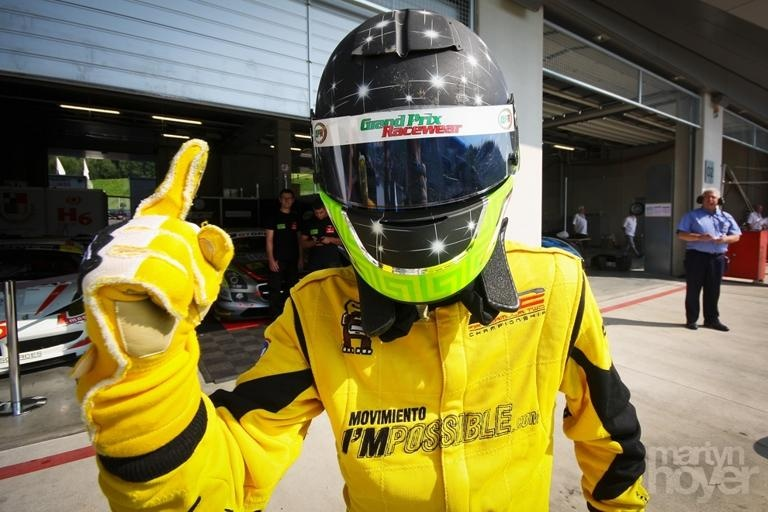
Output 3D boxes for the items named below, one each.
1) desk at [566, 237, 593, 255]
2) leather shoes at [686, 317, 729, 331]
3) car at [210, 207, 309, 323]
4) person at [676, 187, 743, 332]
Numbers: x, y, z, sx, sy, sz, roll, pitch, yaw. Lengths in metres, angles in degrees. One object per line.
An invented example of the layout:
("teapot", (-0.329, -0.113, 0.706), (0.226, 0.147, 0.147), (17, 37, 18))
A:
("desk", (4.207, -0.225, 10.880), (0.450, 0.616, 0.537), (3, 1, 8))
("leather shoes", (4.551, 0.967, 7.197), (0.574, 0.249, 0.207), (0, 4, 38))
("car", (-2.259, 0.269, 8.289), (1.103, 0.707, 2.035), (-6, 11, -18))
("person", (4.672, 0.037, 7.297), (0.893, 1.960, 0.657), (-4, 6, -26))
